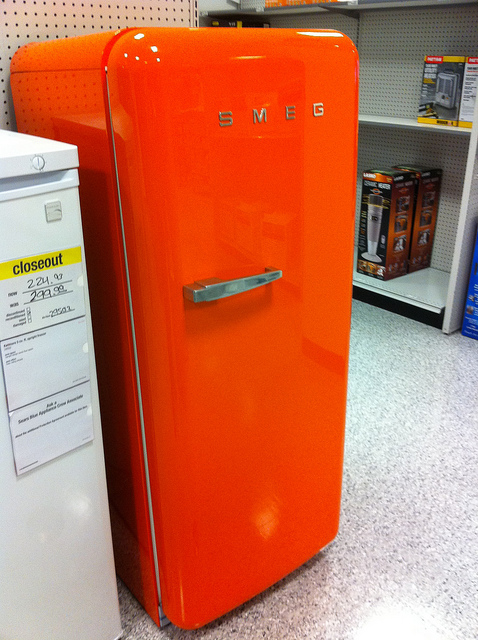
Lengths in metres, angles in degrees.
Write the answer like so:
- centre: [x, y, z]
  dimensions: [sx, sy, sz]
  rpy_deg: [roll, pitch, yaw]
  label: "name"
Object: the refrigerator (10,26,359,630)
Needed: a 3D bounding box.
- centre: [-0.031, 0.075, 1.071]
  dimensions: [0.657, 1.258, 0.346]
  rpy_deg: [-5, 22, -13]
  label: "refrigerator"
